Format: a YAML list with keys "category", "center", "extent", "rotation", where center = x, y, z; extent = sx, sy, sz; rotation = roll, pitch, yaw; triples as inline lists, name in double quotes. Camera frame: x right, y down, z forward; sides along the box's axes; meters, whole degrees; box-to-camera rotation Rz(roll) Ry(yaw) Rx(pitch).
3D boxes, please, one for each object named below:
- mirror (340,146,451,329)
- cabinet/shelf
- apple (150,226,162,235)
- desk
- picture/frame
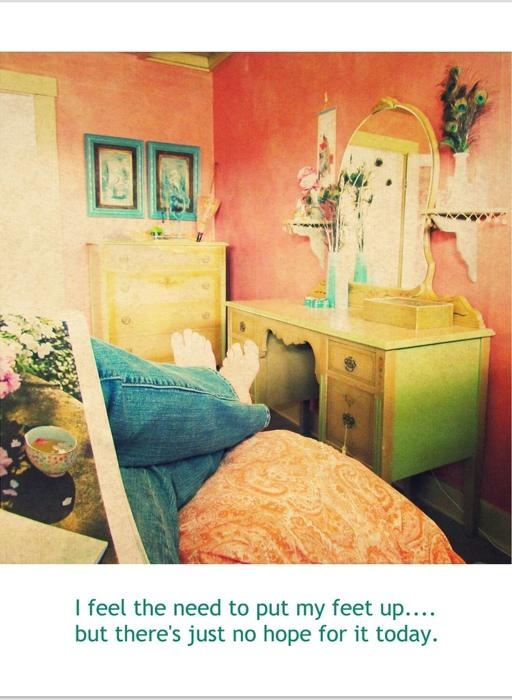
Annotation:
- category: "mirror"
  center: [0.552, -0.446, 2.177]
  extent: [0.032, 0.770, 0.701]
  rotation: [-7, 14, -22]
- category: "cabinet/shelf"
  center: [-0.541, -0.287, 2.949]
  extent: [0.789, 0.698, 0.306]
  rotation: [-6, 14, -28]
- category: "apple"
  center: [-0.652, -0.781, 3.673]
  extent: [0.056, 0.032, 0.057]
  rotation: [20, 32, 34]
- category: "desk"
  center: [0.399, 0.198, 2.182]
  extent: [0.495, 0.774, 0.833]
  rotation: [-9, 15, -27]
- category: "picture/frame"
  center: [-0.776, -1.184, 3.930]
  extent: [0.842, 0.569, 0.056]
  rotation: [-11, 15, -32]
